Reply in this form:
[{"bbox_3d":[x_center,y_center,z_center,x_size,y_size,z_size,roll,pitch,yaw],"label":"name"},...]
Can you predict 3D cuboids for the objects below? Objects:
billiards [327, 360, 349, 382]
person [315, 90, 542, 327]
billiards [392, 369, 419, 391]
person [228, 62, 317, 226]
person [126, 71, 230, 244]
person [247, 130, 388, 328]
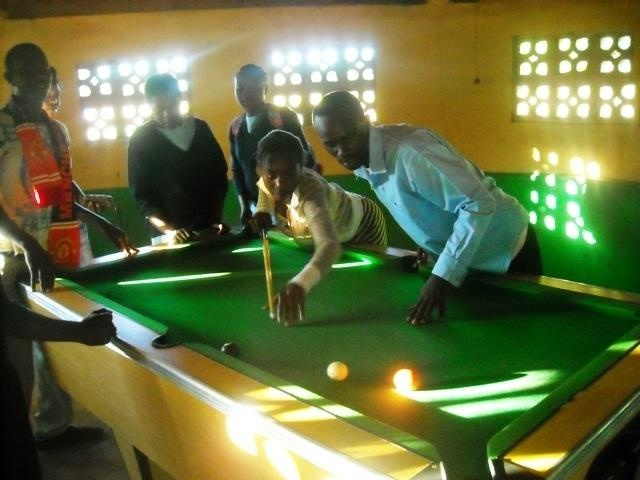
[{"bbox_3d":[0.063,0.473,2.029,0.067,0.067,0.037,18,2,-2],"label":"billiards"},{"bbox_3d":[0.538,-0.206,2.771,0.870,1.329,0.807,-3,16,-26],"label":"person"},{"bbox_3d":[0.300,0.480,2.002,0.088,0.064,0.130,-1,11,7],"label":"billiards"},{"bbox_3d":[-0.442,-0.449,4.315,0.540,1.649,0.438,-5,4,18],"label":"person"},{"bbox_3d":[-0.975,-0.504,3.944,0.614,1.316,0.558,-7,24,-35],"label":"person"},{"bbox_3d":[-0.096,-0.148,2.882,0.520,0.868,1.372,-9,12,19],"label":"person"}]
